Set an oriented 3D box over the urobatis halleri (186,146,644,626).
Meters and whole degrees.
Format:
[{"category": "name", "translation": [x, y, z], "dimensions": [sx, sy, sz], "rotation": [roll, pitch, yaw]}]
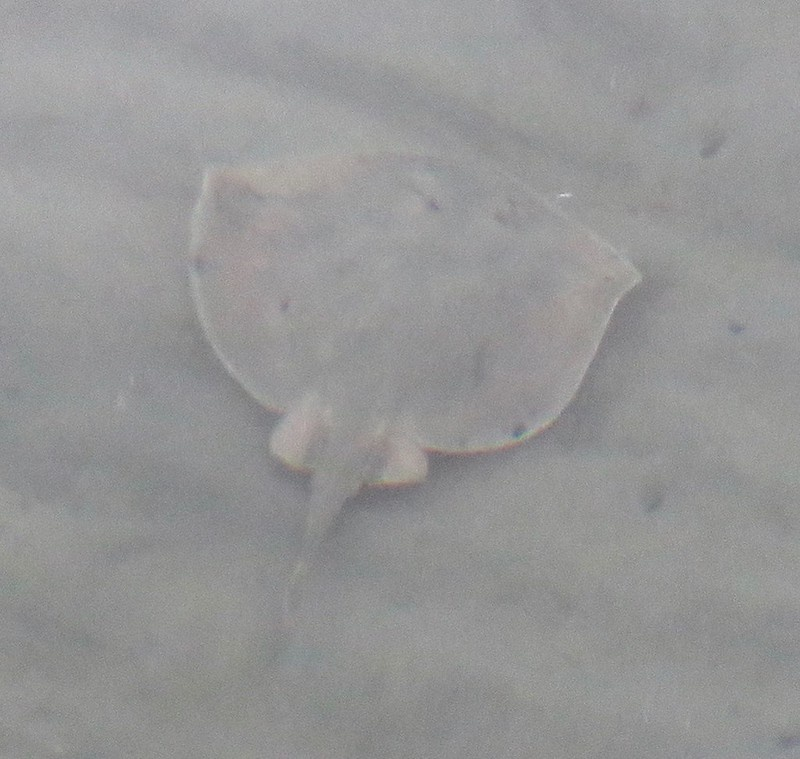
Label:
[{"category": "urobatis halleri", "translation": [0.025, -0.170, 2.328], "dimensions": [0.755, 0.128, 0.662], "rotation": [-24, 79, -4]}]
